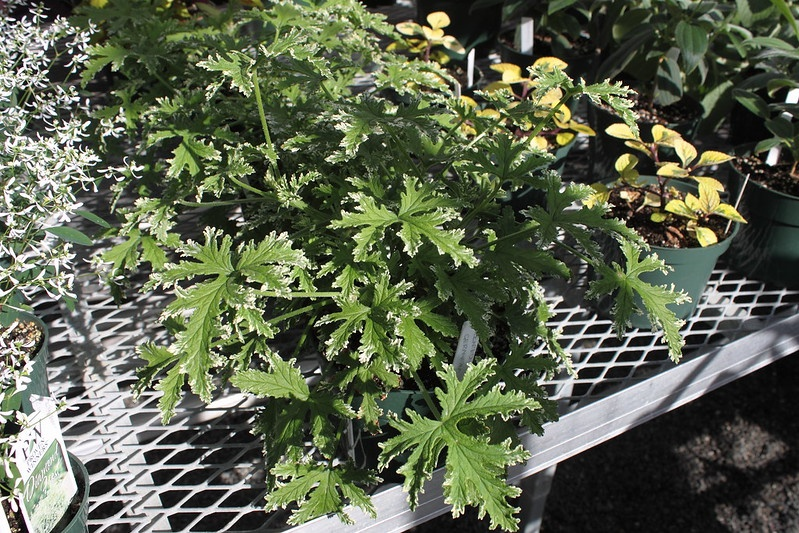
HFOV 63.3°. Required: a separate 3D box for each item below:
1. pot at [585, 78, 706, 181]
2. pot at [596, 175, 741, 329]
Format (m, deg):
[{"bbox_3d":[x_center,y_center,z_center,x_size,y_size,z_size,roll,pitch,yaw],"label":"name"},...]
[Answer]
[{"bbox_3d":[0.853,-0.452,2.346,0.343,0.280,0.387,25,56,20],"label":"pot"},{"bbox_3d":[0.766,-0.049,1.896,0.316,0.268,0.350,23,40,26],"label":"pot"}]
